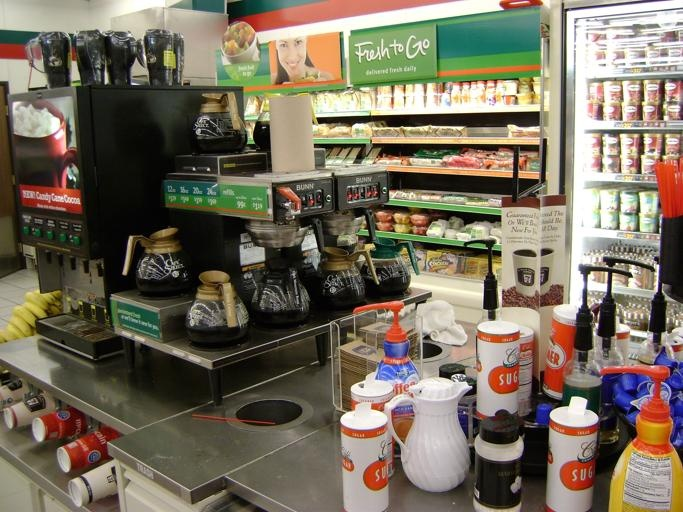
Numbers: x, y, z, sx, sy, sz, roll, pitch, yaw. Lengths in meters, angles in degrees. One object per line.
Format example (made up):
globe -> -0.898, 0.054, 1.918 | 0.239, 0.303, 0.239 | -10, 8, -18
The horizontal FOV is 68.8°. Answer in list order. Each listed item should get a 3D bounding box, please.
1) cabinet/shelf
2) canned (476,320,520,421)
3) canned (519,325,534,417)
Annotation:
cabinet/shelf -> 0.521, -0.493, 3.392 | 2.488, 1.011, 0.366 | 6, 15, 32
canned -> 0.410, 0.307, 1.296 | 0.098, 0.249, 0.070 | 0, 16, 10
canned -> 0.507, 0.316, 1.359 | 0.041, 0.236, 0.095 | 3, 17, 20
